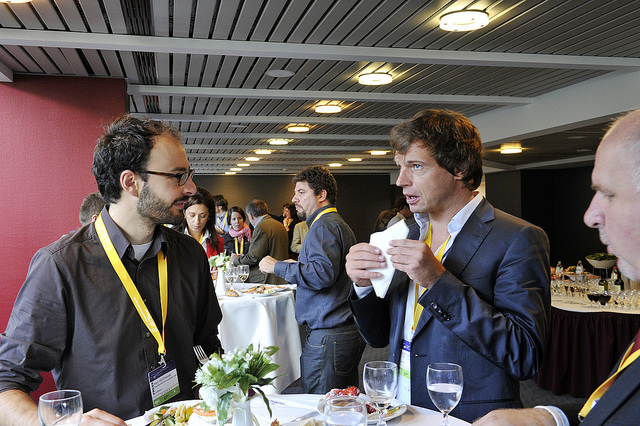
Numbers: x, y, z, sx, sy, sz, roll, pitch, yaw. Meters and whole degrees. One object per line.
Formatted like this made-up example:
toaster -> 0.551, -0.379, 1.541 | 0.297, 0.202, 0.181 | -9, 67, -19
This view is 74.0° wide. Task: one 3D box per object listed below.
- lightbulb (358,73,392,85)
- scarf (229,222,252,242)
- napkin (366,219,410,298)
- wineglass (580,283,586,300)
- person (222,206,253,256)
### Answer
lightbulb -> 0.712, -1.720, 5.477 | 0.398, 0.100, 0.246 | -1, 1, 2
scarf -> -1.553, 0.376, 8.151 | 0.416, 0.227, 0.505 | -1, -1, 4
napkin -> 0.348, 0.247, 2.195 | 0.238, 0.426, 0.194 | 0, 2, 26
wineglass -> 3.374, 0.976, 5.385 | 0.075, 0.178, 0.197 | 0, 2, 33
person -> -1.608, 0.348, 8.052 | 0.789, 1.092, 0.389 | -4, -42, -7
